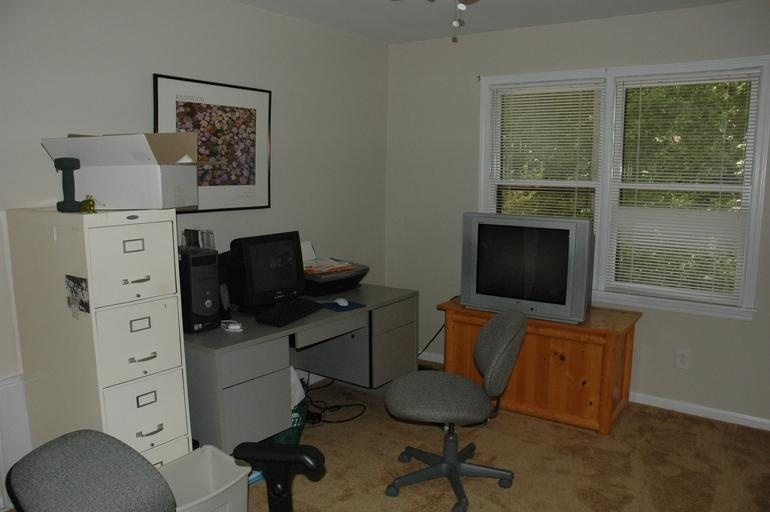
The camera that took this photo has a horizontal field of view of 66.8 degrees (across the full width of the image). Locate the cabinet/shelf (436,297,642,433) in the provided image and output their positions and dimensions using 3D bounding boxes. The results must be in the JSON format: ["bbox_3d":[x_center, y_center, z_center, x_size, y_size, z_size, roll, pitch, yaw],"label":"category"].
[{"bbox_3d":[1.045,0.958,4.533,1.343,0.852,0.720,9,-28,5],"label":"cabinet/shelf"}]

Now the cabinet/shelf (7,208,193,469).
[{"bbox_3d":[-1.611,0.442,3.257,0.938,1.412,0.468,3,11,14],"label":"cabinet/shelf"}]

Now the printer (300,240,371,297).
[{"bbox_3d":[-0.471,0.089,4.419,0.489,0.228,0.364,11,16,41],"label":"printer"}]

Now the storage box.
[{"bbox_3d":[-1.438,-0.477,3.236,0.567,0.358,0.573,2,9,15],"label":"storage box"}]

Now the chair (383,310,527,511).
[{"bbox_3d":[0.480,0.895,4.130,1.082,1.427,1.077,2,8,-1],"label":"chair"}]

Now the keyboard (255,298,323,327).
[{"bbox_3d":[-0.625,0.360,3.857,0.179,0.065,0.315,10,13,29],"label":"keyboard"}]
